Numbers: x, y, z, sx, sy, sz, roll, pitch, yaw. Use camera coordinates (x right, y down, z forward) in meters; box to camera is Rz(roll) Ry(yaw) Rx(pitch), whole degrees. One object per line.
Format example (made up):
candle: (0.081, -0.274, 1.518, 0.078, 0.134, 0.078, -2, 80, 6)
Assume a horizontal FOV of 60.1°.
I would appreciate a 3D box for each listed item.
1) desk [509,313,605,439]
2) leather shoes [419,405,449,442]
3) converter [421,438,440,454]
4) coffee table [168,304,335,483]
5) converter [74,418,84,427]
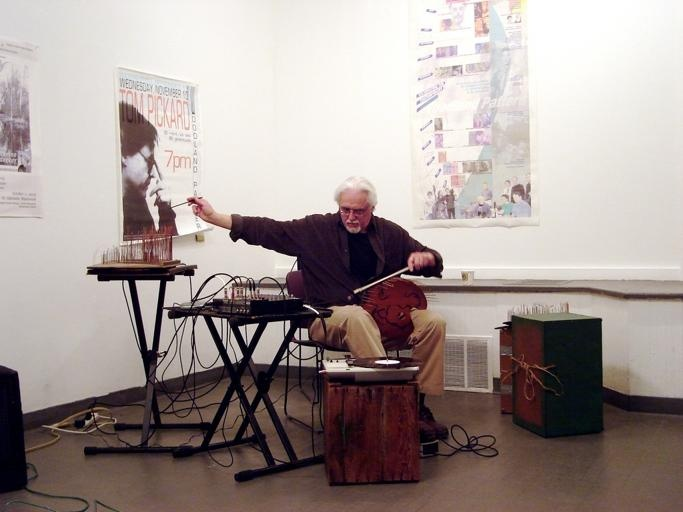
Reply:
desk: (1.412, 0.802, 3.968, 0.437, 0.741, 0.531, 0, -5, -10)
leather shoes: (0.544, 1.052, 3.682, 0.112, 0.229, 0.361, 2, -18, -22)
converter: (0.526, 1.113, 3.487, 0.087, 0.064, 0.072, -2, 1, -15)
coffee table: (-0.467, 0.707, 3.766, 0.921, 1.173, 0.894, -2, -3, 45)
converter: (-1.787, 1.122, 4.001, 0.046, 0.051, 0.049, -3, -9, 20)
